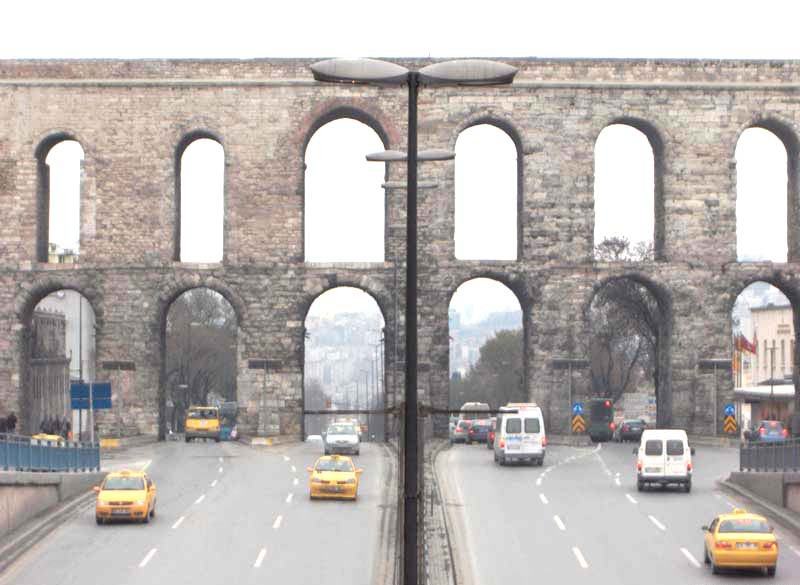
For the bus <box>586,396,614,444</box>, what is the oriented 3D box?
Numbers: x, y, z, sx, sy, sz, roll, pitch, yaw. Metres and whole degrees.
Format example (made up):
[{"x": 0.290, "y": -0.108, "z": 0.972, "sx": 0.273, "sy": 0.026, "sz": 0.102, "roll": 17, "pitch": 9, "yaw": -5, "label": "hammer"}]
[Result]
[{"x": 12.233, "y": 7.583, "z": 101.477, "sx": 1.275, "sy": 2.076, "sz": 3.821, "roll": 0, "pitch": -4, "yaw": 1, "label": "bus"}]

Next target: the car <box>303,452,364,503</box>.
[{"x": -2.942, "y": 8.146, "z": 75.288, "sx": 2.202, "sy": 1.959, "sz": 2.462, "roll": -2, "pitch": -7, "yaw": -2, "label": "car"}]

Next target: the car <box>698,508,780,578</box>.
[{"x": 13.435, "y": 9.802, "z": 66.533, "sx": 2.800, "sy": 2.441, "sz": 1.273, "roll": -3, "pitch": 0, "yaw": 15, "label": "car"}]
